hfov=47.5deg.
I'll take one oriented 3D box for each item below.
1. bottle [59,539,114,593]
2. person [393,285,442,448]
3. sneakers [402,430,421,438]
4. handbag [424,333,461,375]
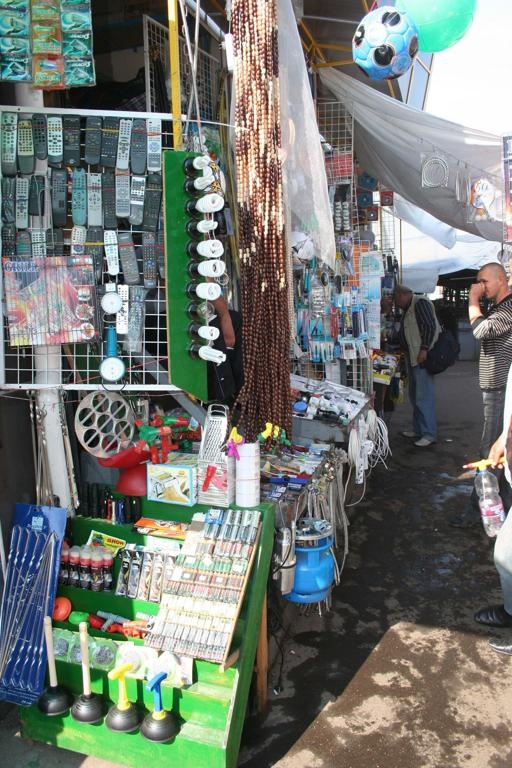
[{"bbox_3d":[-0.708,0.767,2.425,0.225,0.210,0.091,3,6,26],"label":"bottle"},{"bbox_3d":[1.960,-0.212,7.027,0.484,1.918,0.605,-2,6,-10],"label":"person"},{"bbox_3d":[1.975,0.638,7.491,0.147,0.065,0.080,11,6,11],"label":"sneakers"},{"bbox_3d":[2.172,-0.367,6.794,0.417,0.520,0.205,0,6,2],"label":"handbag"}]
